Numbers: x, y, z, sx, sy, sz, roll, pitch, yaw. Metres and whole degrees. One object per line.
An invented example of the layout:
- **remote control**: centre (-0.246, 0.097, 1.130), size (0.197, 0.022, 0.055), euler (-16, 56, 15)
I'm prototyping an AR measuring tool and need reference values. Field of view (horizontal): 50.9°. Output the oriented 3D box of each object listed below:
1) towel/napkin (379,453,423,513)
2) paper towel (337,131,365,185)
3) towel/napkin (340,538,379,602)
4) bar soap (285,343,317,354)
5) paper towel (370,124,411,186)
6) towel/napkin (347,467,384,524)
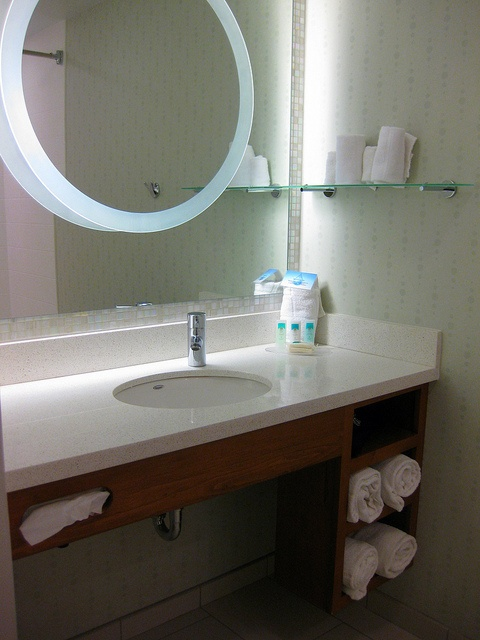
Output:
- **towel/napkin**: centre (0.485, 0.482, 1.502), size (0.175, 0.159, 0.077), euler (-1, 11, -28)
- **paper towel**: centre (0.347, -0.502, 1.607), size (0.087, 0.189, 0.027), euler (2, -16, 15)
- **towel/napkin**: centre (0.332, 0.703, 1.415), size (0.046, 0.150, 0.132), euler (8, -2, 1)
- **bar soap**: centre (0.208, 0.092, 1.648), size (0.109, 0.034, 0.065), euler (-2, 13, -34)
- **paper towel**: centre (0.445, -0.478, 1.482), size (0.102, 0.167, 0.044), euler (4, 5, 11)
- **towel/napkin**: centre (0.362, 0.499, 1.420), size (0.151, 0.153, 0.041), euler (-3, 12, -38)
